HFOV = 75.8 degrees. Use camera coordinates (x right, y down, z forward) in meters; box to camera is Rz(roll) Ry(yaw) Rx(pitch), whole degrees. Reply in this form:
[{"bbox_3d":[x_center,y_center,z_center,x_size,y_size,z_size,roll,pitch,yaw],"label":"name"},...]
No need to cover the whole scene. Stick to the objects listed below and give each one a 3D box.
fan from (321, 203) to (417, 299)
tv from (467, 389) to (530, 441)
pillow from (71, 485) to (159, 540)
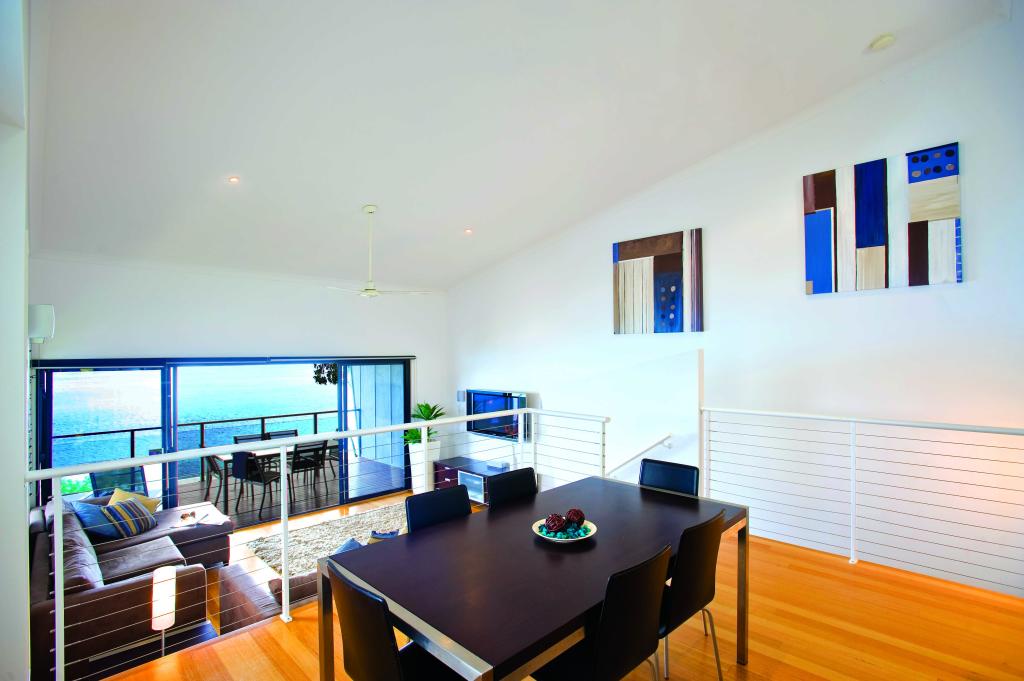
[{"bbox_3d":[-1.562,-1.013,7.539,0.883,1.007,0.920,1,6,-1],"label":"fan"},{"bbox_3d":[-0.247,1.006,8.782,1.086,0.616,0.132,11,-19,-39],"label":"tv"},{"bbox_3d":[-4.011,1.765,6.714,0.555,0.172,0.573,20,21,-49],"label":"pillow"}]
